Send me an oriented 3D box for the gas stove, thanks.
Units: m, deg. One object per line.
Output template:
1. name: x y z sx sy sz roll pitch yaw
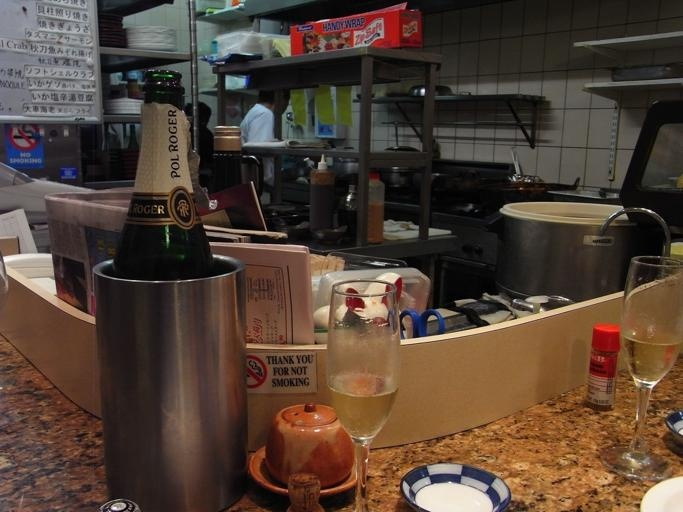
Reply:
1. gas stove: 0.586 -0.306 3.196 0.260 0.083 0.406 -9 15 -39

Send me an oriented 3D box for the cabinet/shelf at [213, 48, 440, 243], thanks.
1. cabinet/shelf: -0.148 -0.566 2.761 0.427 0.782 1.318 -9 18 -36

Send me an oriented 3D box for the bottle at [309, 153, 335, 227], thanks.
1. bottle: -0.082 -0.260 2.214 0.101 0.293 0.206 -2 15 -3

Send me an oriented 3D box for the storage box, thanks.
1. storage box: 0.027 -0.950 2.328 0.639 0.181 0.190 9 17 38

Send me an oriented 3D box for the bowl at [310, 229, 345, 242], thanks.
1. bowl: -0.050 -0.085 2.147 0.130 0.060 0.098 -2 13 -3

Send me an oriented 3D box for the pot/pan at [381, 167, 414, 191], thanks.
1. pot/pan: 0.366 -0.523 3.728 0.240 0.127 0.184 1 2 40

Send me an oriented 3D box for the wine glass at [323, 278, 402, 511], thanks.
1. wine glass: 0.030 0.164 0.670 0.084 0.268 0.134 0 15 6

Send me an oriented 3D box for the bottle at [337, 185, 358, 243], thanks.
1. bottle: 0.028 -0.170 2.187 0.074 0.227 0.158 -1 15 1

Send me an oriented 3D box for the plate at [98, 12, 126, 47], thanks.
1. plate: -1.462 -1.436 3.477 0.088 0.207 0.215 6 16 25

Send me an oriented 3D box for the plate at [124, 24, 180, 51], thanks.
1. plate: -1.264 -1.445 3.619 0.263 0.092 0.238 1 11 -5

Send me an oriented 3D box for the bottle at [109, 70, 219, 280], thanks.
1. bottle: -0.222 -0.092 0.646 0.118 0.248 0.052 -7 17 -19

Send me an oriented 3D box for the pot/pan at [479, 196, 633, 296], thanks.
1. pot/pan: 0.598 -0.040 1.540 0.336 0.203 0.304 1 6 8

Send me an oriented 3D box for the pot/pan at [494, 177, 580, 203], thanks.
1. pot/pan: 0.986 -0.332 2.773 0.325 0.099 0.220 0 3 8
